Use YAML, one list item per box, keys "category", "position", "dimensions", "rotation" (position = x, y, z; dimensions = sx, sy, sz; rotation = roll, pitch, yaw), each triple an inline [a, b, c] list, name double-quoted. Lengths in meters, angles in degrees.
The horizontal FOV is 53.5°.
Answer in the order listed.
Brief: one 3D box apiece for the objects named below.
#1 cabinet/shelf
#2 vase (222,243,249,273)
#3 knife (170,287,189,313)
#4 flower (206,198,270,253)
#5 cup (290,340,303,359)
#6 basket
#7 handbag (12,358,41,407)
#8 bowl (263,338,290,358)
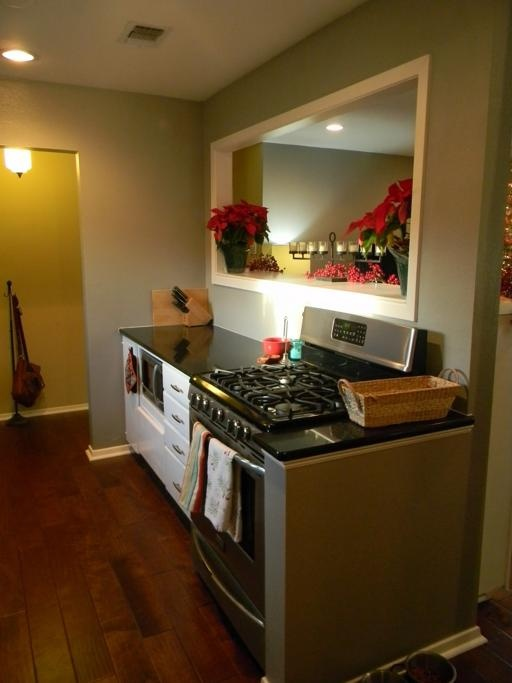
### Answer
- category: "cabinet/shelf"
  position: [-0.505, 0.417, 2.582]
  dimensions: [0.274, 0.622, 0.717]
  rotation: [-3, 18, -23]
- category: "vase"
  position: [-0.123, -0.491, 2.998]
  dimensions: [0.150, 0.162, 0.150]
  rotation: [6, 17, 24]
- category: "knife"
  position: [-0.505, -0.268, 3.291]
  dimensions: [0.079, 0.171, 0.045]
  rotation: [-27, 48, 0]
- category: "flower"
  position: [-0.102, -0.647, 2.910]
  dimensions: [0.284, 0.187, 0.291]
  rotation: [-3, 18, -28]
- category: "cup"
  position: [0.171, 0.037, 2.207]
  dimensions: [0.052, 0.094, 0.054]
  rotation: [1, 19, 0]
- category: "basket"
  position: [0.413, 0.155, 1.406]
  dimensions: [0.388, 0.119, 0.182]
  rotation: [-4, 9, -20]
- category: "handbag"
  position: [-1.701, 0.306, 3.769]
  dimensions: [0.197, 0.362, 0.217]
  rotation: [-4, 9, -26]
- category: "bowl"
  position: [0.091, 0.028, 2.266]
  dimensions: [0.086, 0.062, 0.086]
  rotation: [-1, 6, 0]
